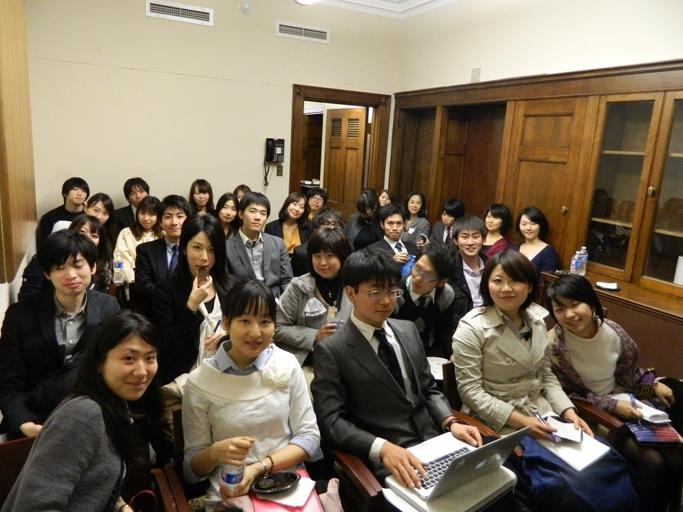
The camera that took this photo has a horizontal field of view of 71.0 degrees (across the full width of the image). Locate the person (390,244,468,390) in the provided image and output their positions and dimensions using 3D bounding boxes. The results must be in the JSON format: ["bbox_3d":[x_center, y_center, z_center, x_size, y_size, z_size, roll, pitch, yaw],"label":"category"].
[{"bbox_3d":[0.524,0.355,3.100,0.493,0.825,0.621,5,28,6],"label":"person"}]

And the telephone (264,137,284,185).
[{"bbox_3d":[-0.860,-1.212,6.175,0.281,0.615,0.125,-2,15,-14],"label":"telephone"}]

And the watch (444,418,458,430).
[{"bbox_3d":[0.554,0.841,2.418,0.067,0.067,0.047,-22,46,16],"label":"watch"}]

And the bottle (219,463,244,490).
[{"bbox_3d":[-0.461,0.916,2.057,0.094,0.099,0.095,-10,18,-36],"label":"bottle"}]

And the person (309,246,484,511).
[{"bbox_3d":[0.079,0.465,2.737,0.938,1.364,0.973,-8,7,-37],"label":"person"}]

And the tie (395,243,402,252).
[{"bbox_3d":[0.538,-0.084,4.471,0.048,0.021,0.073,5,53,-7],"label":"tie"}]

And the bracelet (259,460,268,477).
[{"bbox_3d":[-0.344,0.937,2.108,0.039,0.054,0.018,19,-15,-26],"label":"bracelet"}]
